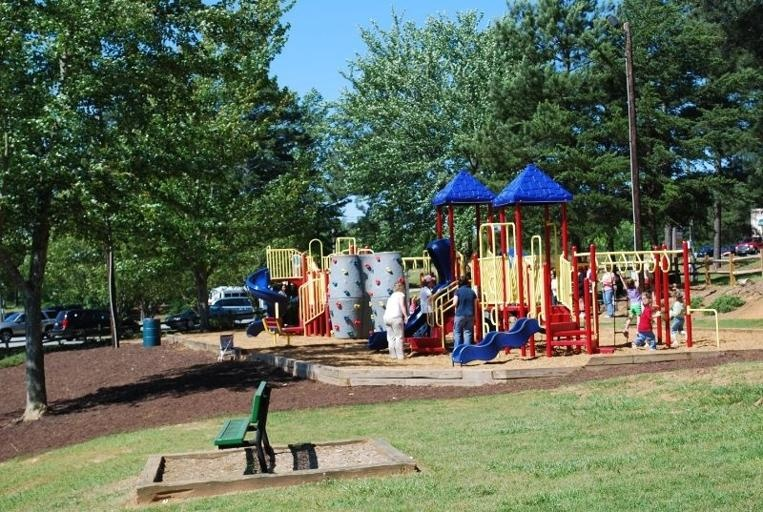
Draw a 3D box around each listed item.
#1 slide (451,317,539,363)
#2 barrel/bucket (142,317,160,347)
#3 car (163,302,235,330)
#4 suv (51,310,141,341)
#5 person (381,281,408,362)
[{"bbox_3d":[3.180,2.350,23.504,2.560,0.584,0.512,-21,4,-20],"label":"slide"},{"bbox_3d":[-9.142,3.104,35.011,0.633,1.121,0.733,-3,-3,-23],"label":"barrel/bucket"},{"bbox_3d":[-9.466,3.395,45.899,3.915,1.550,1.523,1,-2,-31],"label":"car"},{"bbox_3d":[-13.694,3.350,42.409,3.861,1.438,1.633,0,-3,-39],"label":"suv"},{"bbox_3d":[0.350,1.875,24.738,0.771,2.072,0.769,2,-3,2],"label":"person"}]
